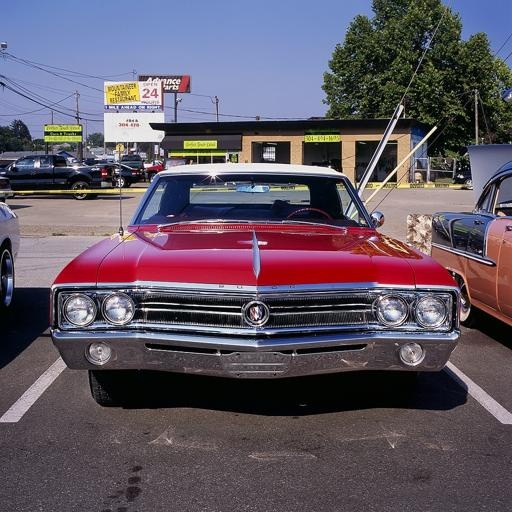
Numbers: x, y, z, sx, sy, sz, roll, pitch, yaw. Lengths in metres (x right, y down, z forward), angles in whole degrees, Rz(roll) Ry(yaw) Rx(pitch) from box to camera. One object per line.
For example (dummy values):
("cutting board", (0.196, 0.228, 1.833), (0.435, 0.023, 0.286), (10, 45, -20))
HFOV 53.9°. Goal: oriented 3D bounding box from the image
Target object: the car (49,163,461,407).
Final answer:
("car", (-0.022, -0.015, 3.935), (1.710, 0.891, 2.807), (0, 1, 2))
